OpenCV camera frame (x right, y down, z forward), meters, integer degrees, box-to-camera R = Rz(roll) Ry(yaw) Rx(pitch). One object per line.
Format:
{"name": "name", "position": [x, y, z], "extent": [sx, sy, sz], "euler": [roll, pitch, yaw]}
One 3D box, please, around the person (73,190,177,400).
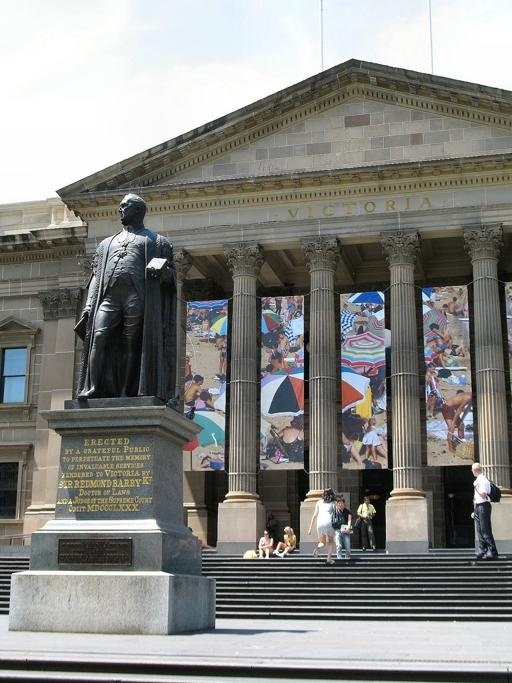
{"name": "person", "position": [-1.382, -0.312, 9.824], "extent": [1.037, 2.020, 0.684], "euler": [0, -15, -7]}
